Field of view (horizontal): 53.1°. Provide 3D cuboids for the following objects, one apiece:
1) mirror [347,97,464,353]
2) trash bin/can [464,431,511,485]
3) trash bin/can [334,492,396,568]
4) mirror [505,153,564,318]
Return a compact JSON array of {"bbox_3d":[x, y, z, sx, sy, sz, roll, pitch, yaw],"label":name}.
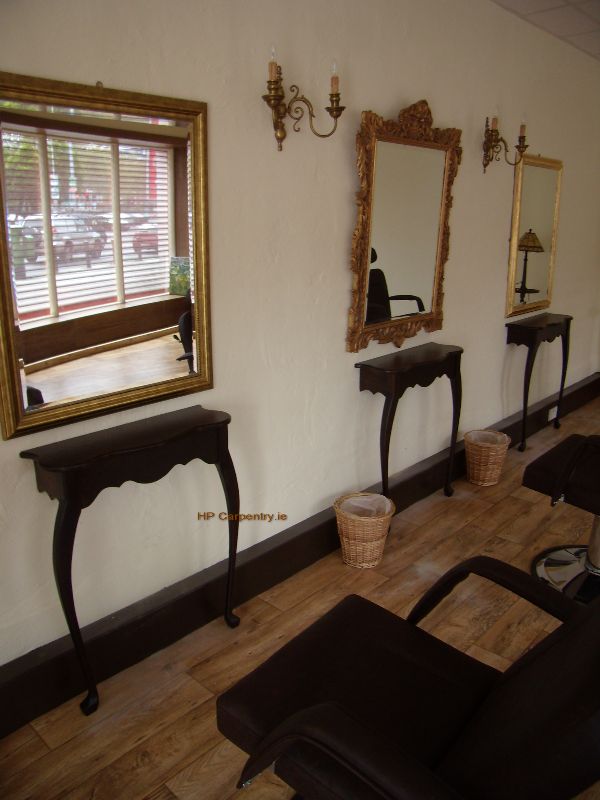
[{"bbox_3d":[0.550,-0.973,3.247,0.078,1.559,1.123,13,22,35],"label":"mirror"},{"bbox_3d":[1.236,0.401,4.075,0.242,0.278,0.236,-2,10,-37],"label":"trash bin/can"},{"bbox_3d":[0.316,0.654,3.048,0.273,0.298,0.302,6,15,12],"label":"trash bin/can"},{"bbox_3d":[1.783,-1.300,4.620,0.081,1.193,0.996,17,28,38],"label":"mirror"}]
